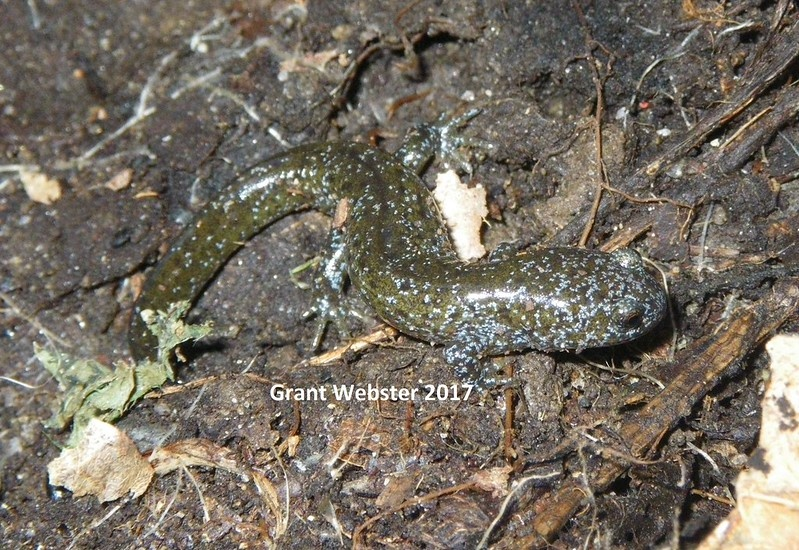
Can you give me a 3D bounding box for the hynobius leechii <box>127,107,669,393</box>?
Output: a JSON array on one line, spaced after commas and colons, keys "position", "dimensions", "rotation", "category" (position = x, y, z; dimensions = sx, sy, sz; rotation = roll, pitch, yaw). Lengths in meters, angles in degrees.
[{"position": [0.118, -0.140, 9.355], "dimensions": [5.446, 1.189, 2.298], "rotation": [13, 85, 3], "category": "hynobius leechii"}]
